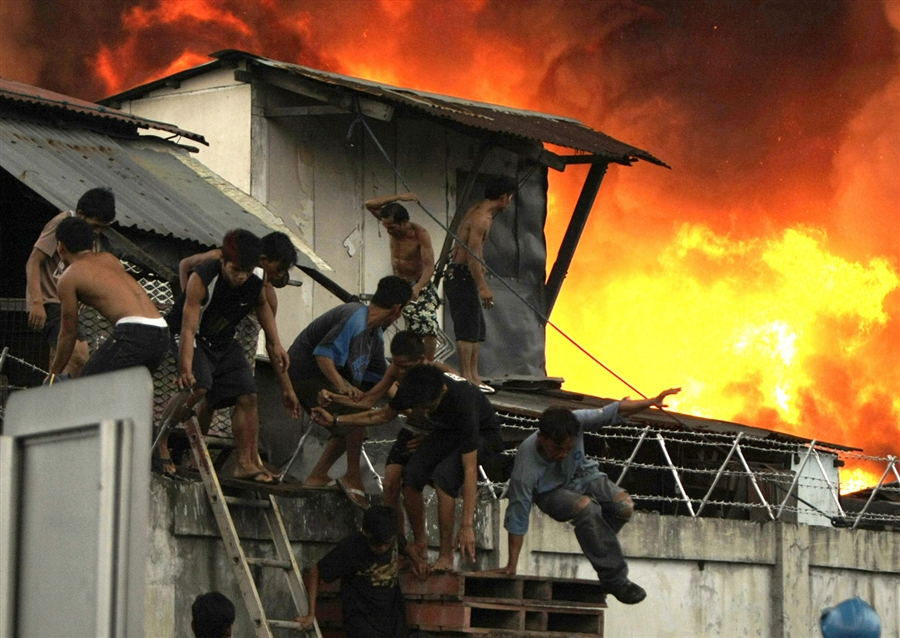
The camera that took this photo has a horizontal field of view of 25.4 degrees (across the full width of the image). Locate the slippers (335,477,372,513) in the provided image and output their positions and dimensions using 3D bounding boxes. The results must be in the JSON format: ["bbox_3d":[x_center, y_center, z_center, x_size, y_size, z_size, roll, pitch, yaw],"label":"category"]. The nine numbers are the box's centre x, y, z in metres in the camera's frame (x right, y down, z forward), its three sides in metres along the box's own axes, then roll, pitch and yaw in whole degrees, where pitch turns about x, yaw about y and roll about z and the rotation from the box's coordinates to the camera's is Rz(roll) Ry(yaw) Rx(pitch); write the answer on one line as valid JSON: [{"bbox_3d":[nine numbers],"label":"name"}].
[{"bbox_3d":[-1.312,2.174,25.395,0.132,0.496,0.289,-45,-9,15],"label":"slippers"}]

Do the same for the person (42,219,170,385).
[{"bbox_3d":[-4.167,-0.247,23.978,1.386,1.795,0.673,6,-19,-17],"label":"person"}]

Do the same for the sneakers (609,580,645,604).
[{"bbox_3d":[2.242,3.420,25.320,0.492,0.191,0.257,2,21,16],"label":"sneakers"}]
